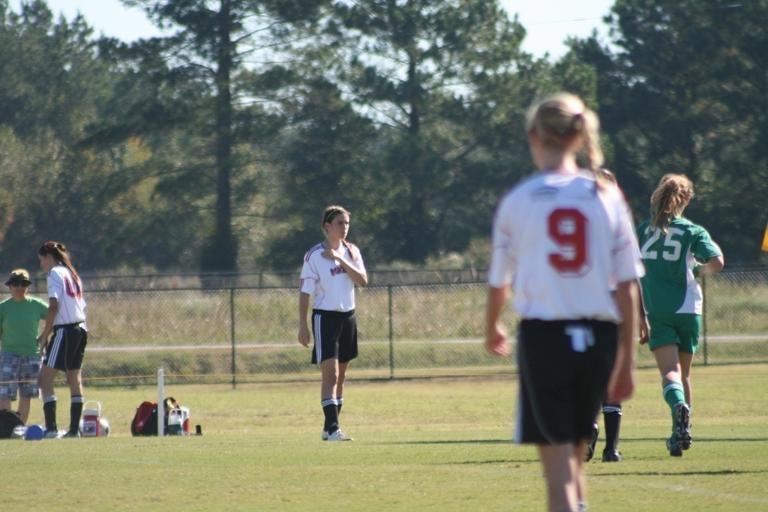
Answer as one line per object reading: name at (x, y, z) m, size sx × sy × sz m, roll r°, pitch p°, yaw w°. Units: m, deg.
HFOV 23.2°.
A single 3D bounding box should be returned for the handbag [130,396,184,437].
handbag at (-7.875, 5.643, 64.876) m, size 1.805 × 0.969 × 1.170 m, roll 1°, pitch -6°, yaw -6°
